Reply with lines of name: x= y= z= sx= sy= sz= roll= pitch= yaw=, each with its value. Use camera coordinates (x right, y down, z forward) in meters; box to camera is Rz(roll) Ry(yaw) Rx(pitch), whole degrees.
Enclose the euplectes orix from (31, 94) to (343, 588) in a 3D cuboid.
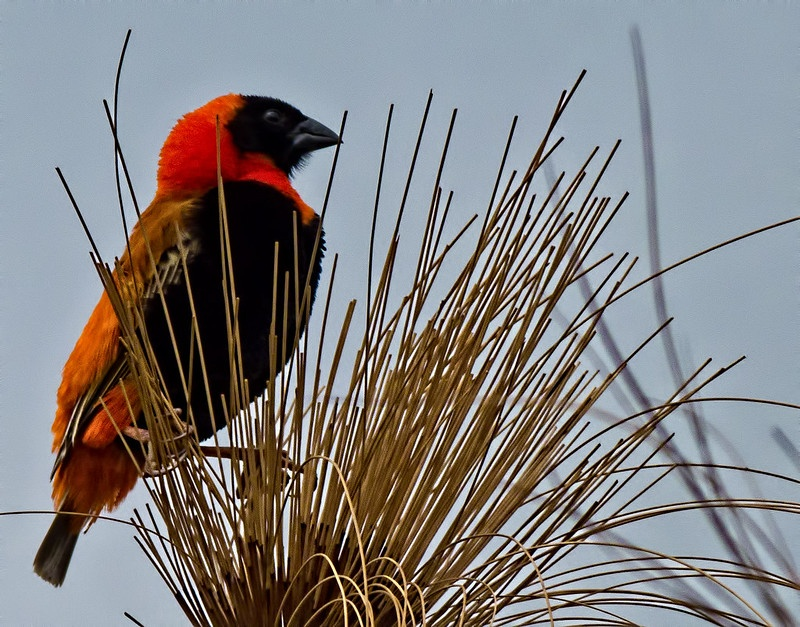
euplectes orix: x=-0.346 y=0.019 z=2.652 sx=0.548 sy=0.721 sz=0.333 roll=-15 pitch=-31 yaw=12
